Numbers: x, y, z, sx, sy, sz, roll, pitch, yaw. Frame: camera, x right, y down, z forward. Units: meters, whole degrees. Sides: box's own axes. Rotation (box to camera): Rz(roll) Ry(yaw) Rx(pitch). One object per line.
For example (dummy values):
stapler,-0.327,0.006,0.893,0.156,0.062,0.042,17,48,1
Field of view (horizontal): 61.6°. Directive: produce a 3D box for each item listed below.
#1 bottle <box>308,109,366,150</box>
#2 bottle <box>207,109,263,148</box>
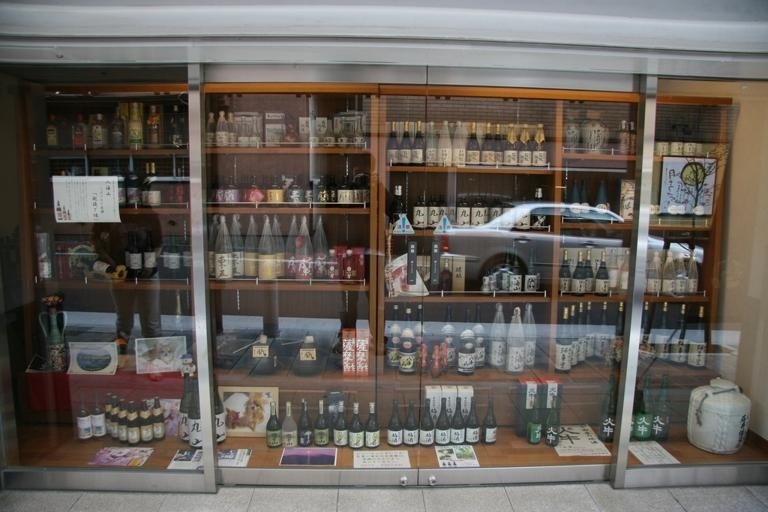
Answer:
bottle,-0.285,-0.779,4.003,0.356,0.208,0.026,-1,6,1
bottle,-0.916,-0.779,3.963,0.334,0.213,0.036,-4,6,-19
